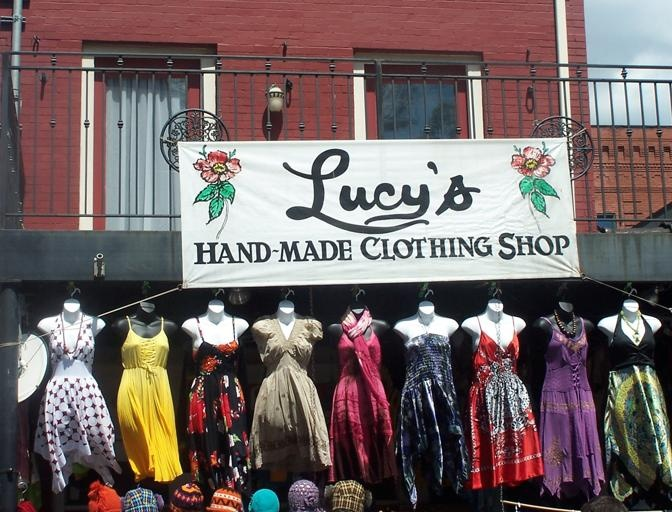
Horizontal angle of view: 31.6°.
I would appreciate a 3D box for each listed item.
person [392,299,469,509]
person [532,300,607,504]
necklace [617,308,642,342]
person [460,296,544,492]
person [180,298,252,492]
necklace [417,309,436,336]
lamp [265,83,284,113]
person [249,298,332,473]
[{"bbox_3d":[0.804,1.254,10.131,0.572,1.718,0.380,-2,-3,2],"label":"person"},{"bbox_3d":[2.018,1.289,10.317,0.513,1.636,0.258,-2,-3,11],"label":"person"},{"bbox_3d":[2.594,0.616,10.436,0.156,0.292,0.060,-1,-7,-4],"label":"necklace"},{"bbox_3d":[1.421,1.178,10.215,0.618,1.597,0.201,-1,-3,-9],"label":"person"},{"bbox_3d":[-1.008,1.183,10.058,0.546,1.616,0.388,-1,-3,-7],"label":"person"},{"bbox_3d":[0.779,0.567,10.238,0.168,0.267,0.142,-6,-14,37],"label":"necklace"},{"bbox_3d":[-0.595,-1.588,11.884,0.149,0.298,0.333,-1,-2,-3],"label":"lamp"},{"bbox_3d":[-0.397,1.102,10.053,0.671,1.432,0.330,-1,-3,-2],"label":"person"}]
